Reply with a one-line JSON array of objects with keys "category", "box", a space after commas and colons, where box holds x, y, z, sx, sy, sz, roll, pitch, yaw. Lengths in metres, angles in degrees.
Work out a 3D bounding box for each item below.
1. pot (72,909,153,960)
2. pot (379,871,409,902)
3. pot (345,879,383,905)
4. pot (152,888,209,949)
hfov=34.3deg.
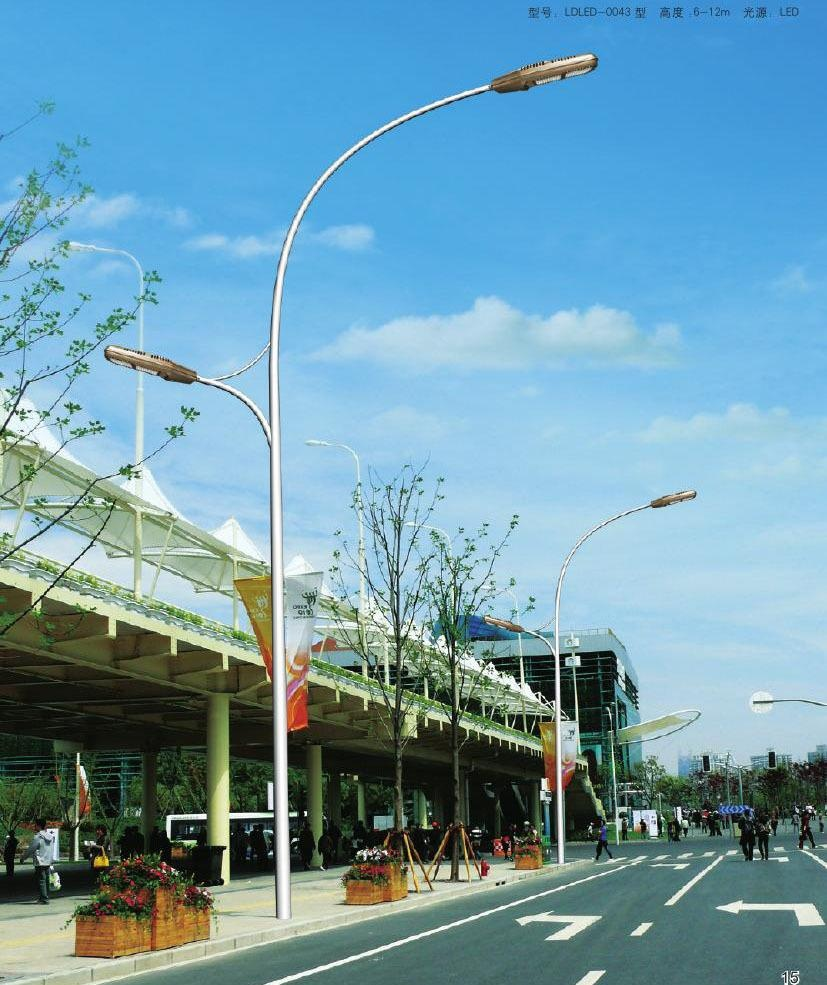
[{"category": "pot", "box": [-3.791, 5.586, 16.960, 0.931, 0.512, 0.588, 1, -17, -12]}, {"category": "pot", "box": [-0.393, 7.479, 25.538, 0.479, 0.506, 0.846, -10, -16, 20]}, {"category": "pot", "box": [-0.924, 7.387, 24.841, 0.550, 0.401, 0.764, -1, -14, 10]}, {"category": "pot", "box": [-3.138, 5.693, 17.913, 0.462, 0.536, 0.860, -21, -29, 26]}]
